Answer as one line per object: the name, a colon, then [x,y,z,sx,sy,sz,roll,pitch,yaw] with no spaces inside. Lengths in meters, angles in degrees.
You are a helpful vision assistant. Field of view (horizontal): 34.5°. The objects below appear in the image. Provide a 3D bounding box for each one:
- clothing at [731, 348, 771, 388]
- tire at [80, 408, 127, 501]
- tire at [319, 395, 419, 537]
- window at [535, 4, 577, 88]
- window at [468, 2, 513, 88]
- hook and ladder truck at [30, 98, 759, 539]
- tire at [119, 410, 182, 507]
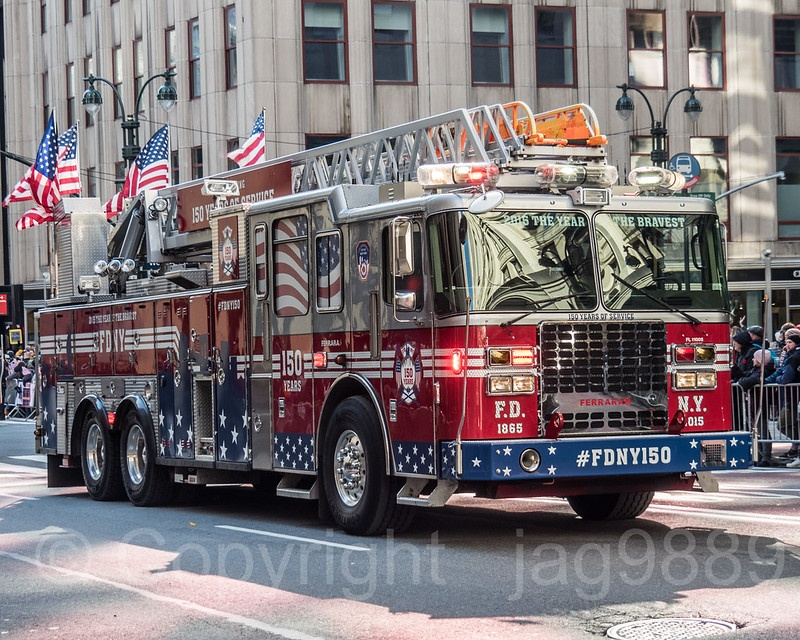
clothing: [5.051,0.715,18.547,0.740,0.759,0.590,0,-3,20]
tire: [-3.890,1.797,17.134,0.351,1.127,1.040,-3,7,-15]
tire: [-0.352,1.472,12.833,0.359,1.350,1.046,3,8,-42]
window: [4.981,-8.655,41.157,1.476,2.564,0.278,8,5,-8]
window: [2.928,-8.620,40.642,1.526,2.599,0.497,5,6,-28]
hook and ladder truck: [-0.724,0.078,15.682,3.691,4.204,9.386,1,-3,-33]
tire: [-3.088,1.759,16.238,0.401,1.267,1.150,-3,2,-30]
